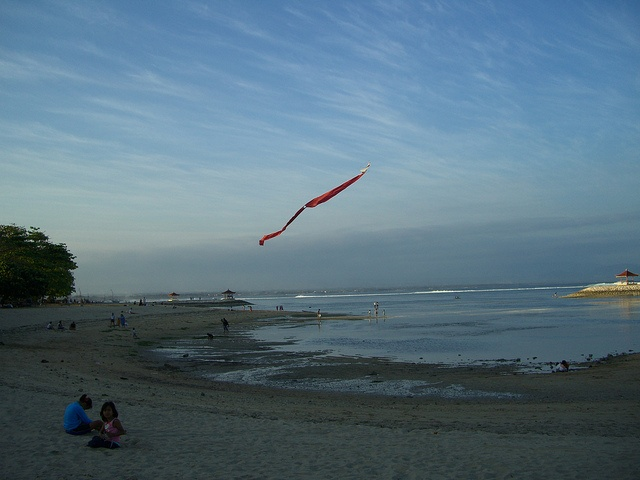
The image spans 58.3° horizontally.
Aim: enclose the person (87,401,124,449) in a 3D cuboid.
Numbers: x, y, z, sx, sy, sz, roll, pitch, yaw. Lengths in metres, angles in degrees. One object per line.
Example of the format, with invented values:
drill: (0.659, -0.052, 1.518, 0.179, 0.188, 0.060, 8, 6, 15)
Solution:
person: (-7.224, 6.243, 19.428, 1.070, 1.588, 0.831, -2, -5, 0)
